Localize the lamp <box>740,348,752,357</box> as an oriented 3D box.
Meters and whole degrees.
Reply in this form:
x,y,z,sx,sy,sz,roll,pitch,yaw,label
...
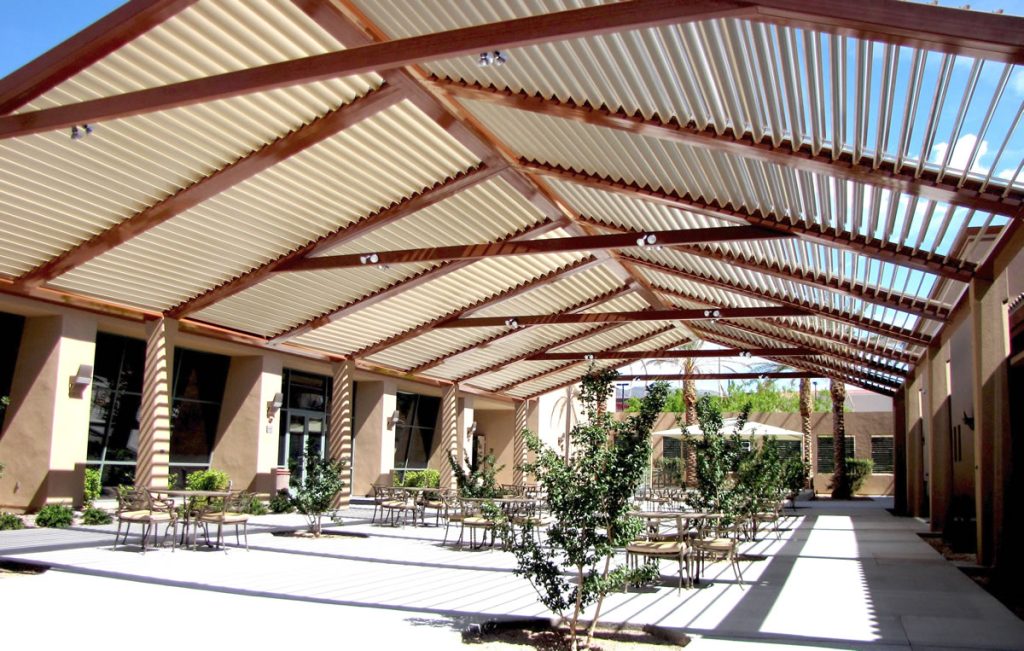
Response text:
x,y,z,sx,sy,sz,roll,pitch,yaw,label
7.720,0.894,22.303,0.376,0.232,0.384,-1,-10,16,lamp

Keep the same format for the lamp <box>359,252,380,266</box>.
x,y,z,sx,sy,sz,roll,pitch,yaw,label
-2.909,-1.339,13.687,0.394,0.165,0.489,1,7,-4,lamp

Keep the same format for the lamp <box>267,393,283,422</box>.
x,y,z,sx,sy,sz,roll,pitch,yaw,label
-6.453,2.218,18.302,0.266,0.789,0.424,-1,-12,19,lamp

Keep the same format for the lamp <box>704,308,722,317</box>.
x,y,z,sx,sy,sz,roll,pitch,yaw,label
5.058,-0.306,17.039,0.279,0.061,0.235,7,-11,-26,lamp

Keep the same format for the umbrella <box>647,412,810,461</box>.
x,y,z,sx,sy,sz,roll,pitch,yaw,label
7.163,3.393,20.996,6.091,1.468,5.012,-3,-16,16,umbrella

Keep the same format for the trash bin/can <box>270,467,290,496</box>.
x,y,z,sx,sy,sz,roll,pitch,yaw,label
-6.254,4.128,18.057,0.484,0.650,0.462,6,-12,-17,trash bin/can

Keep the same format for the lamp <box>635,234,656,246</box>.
x,y,z,sx,sy,sz,roll,pitch,yaw,label
2.452,-1.562,12.436,0.282,0.058,0.267,-31,31,-15,lamp

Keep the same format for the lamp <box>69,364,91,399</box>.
x,y,z,sx,sy,sz,roll,pitch,yaw,label
-9.095,1.164,14.183,0.164,0.715,0.337,-4,-13,29,lamp
